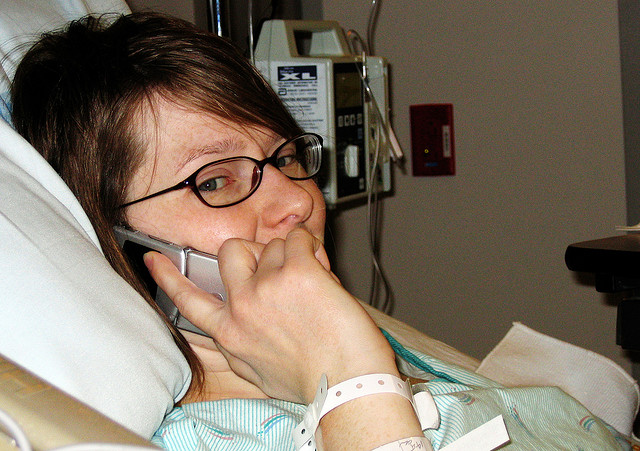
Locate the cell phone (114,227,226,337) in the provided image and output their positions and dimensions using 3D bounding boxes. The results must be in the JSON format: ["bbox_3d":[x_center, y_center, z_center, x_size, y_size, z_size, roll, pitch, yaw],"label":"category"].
[{"bbox_3d":[-0.297,0.115,1.094,0.195,0.118,0.021,21,20,17],"label":"cell phone"}]
